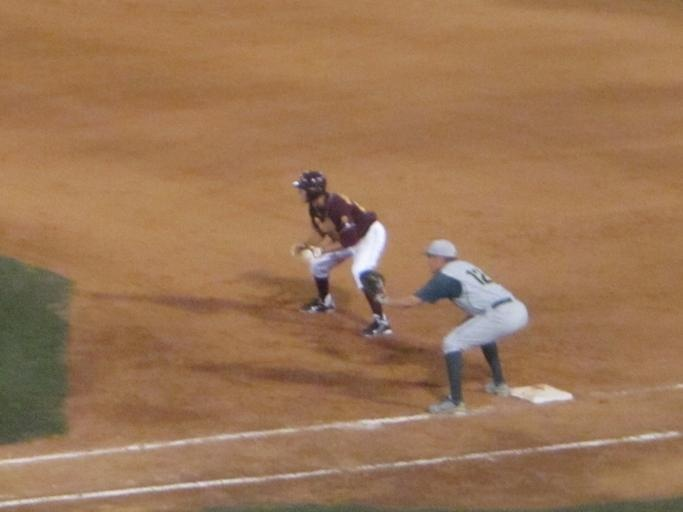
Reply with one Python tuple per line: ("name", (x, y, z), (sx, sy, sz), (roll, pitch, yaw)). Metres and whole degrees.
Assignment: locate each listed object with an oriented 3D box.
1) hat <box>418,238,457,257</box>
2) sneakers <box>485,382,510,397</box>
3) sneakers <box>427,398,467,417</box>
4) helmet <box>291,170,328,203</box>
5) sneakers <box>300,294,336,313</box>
("hat", (1.410, -0.097, 19.783), (0.399, 0.182, 0.287), (10, 8, 10))
("sneakers", (2.239, 1.891, 20.032), (0.278, 0.110, 0.172), (10, 16, 31))
("sneakers", (1.501, 2.118, 19.662), (0.568, 0.217, 0.205), (3, -2, -5))
("helmet", (-0.400, -1.041, 20.756), (0.504, 0.410, 0.379), (20, 17, -27))
("sneakers", (-0.351, 0.722, 21.623), (0.622, 0.264, 0.206), (-2, 27, -9))
